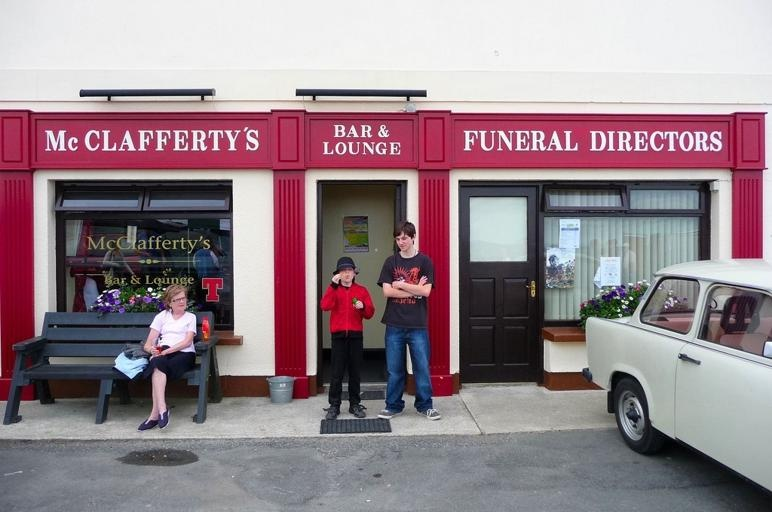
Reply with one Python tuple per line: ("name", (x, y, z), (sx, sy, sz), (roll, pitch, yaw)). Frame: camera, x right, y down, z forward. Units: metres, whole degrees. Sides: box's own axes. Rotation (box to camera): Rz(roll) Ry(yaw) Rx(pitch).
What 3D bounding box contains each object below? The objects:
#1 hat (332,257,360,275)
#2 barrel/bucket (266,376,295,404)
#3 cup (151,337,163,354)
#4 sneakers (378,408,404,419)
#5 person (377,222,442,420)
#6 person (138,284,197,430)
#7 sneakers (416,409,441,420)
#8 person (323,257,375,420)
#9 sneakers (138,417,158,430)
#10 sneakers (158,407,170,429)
("hat", (-0.568, 0.116, 9.811), (0.224, 0.162, 0.309), (1, -11, -4))
("barrel/bucket", (-1.542, 1.973, 10.328), (0.347, 0.288, 0.381), (0, -9, 0))
("cup", (-3.123, 1.211, 9.703), (0.148, 0.233, 0.150), (0, -13, 0))
("sneakers", (0.071, 2.184, 9.760), (0.336, 0.149, 0.126), (5, -5, -13))
("person", (0.330, 0.881, 9.691), (0.811, 2.650, 0.768), (0, 15, -1))
("person", (-2.991, 1.359, 9.578), (0.782, 1.699, 1.084), (-4, 15, -14))
("sneakers", (0.607, 2.178, 9.739), (0.123, 0.116, 0.313), (-1, 0, -43))
("person", (-0.530, 1.165, 9.770), (0.696, 2.236, 0.739), (-2, 15, -6))
("sneakers", (-3.167, 2.227, 9.333), (0.119, 0.101, 0.246), (-2, -4, 30))
("sneakers", (-2.932, 2.160, 9.338), (0.127, 0.274, 0.105), (-19, -31, 39))
